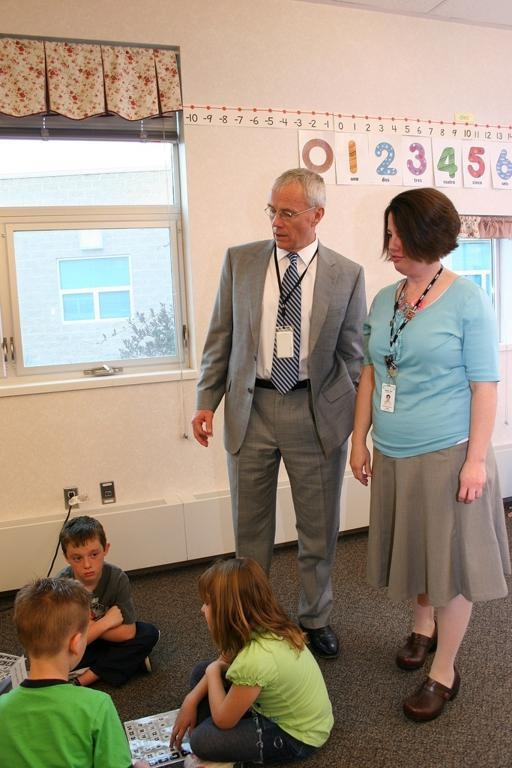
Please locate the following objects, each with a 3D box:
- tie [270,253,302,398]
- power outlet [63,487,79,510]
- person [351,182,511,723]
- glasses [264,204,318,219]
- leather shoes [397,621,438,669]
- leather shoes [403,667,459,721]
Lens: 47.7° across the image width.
[{"bbox_3d":[0.092,-0.175,1.821,0.102,0.406,0.046,-2,3,3],"label":"tie"},{"bbox_3d":[-0.867,0.541,2.735,0.072,0.098,0.048,-3,3,-18],"label":"power outlet"},{"bbox_3d":[0.509,0.210,1.696,0.329,1.467,0.464,-4,3,-24],"label":"person"},{"bbox_3d":[0.124,-0.518,1.766,0.107,0.031,0.079,-9,11,-36],"label":"glasses"},{"bbox_3d":[0.543,0.878,1.945,0.064,0.079,0.195,-7,-4,30],"label":"leather shoes"},{"bbox_3d":[0.504,0.877,1.670,0.074,0.078,0.181,-5,2,43],"label":"leather shoes"}]
